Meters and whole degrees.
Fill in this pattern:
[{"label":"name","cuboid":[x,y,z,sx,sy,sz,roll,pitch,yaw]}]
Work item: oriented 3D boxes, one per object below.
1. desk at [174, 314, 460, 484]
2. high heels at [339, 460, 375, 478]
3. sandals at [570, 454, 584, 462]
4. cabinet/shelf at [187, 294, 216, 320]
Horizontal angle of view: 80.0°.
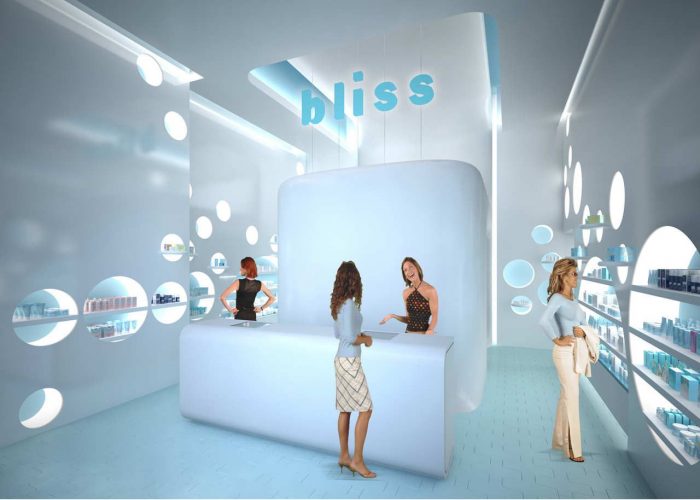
[{"label":"desk","cuboid":[-0.485,1.573,5.083,3.369,1.401,0.934,1,-1,23]},{"label":"high heels","cuboid":[0.073,2.238,4.225,0.420,0.196,0.148,-1,-11,11]},{"label":"sandals","cuboid":[2.427,2.232,4.475,0.160,0.067,0.061,-2,2,24]},{"label":"cabinet/shelf","cuboid":[-2.734,1.065,7.712,0.364,0.282,0.379,0,-3,8]}]
